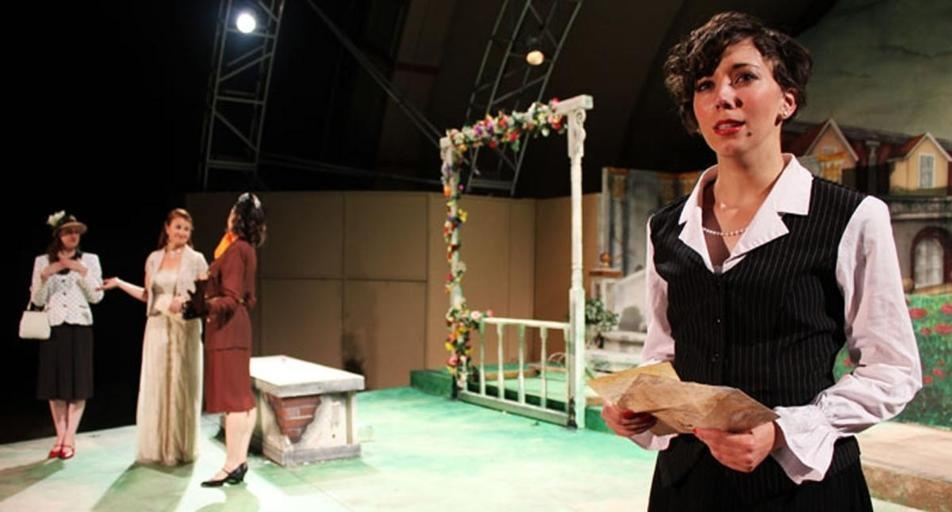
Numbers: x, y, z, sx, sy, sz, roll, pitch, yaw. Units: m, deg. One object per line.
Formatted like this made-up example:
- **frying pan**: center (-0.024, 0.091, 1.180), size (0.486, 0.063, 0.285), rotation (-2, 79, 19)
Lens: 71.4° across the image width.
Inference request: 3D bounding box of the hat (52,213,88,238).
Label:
- **hat**: center (-5.505, -0.405, 8.877), size (0.388, 0.181, 0.437), rotation (-2, -7, -10)

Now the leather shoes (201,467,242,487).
- **leather shoes**: center (-3.010, 2.670, 7.984), size (0.608, 0.263, 0.199), rotation (2, -5, -14)

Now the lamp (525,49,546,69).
- **lamp**: center (1.198, -4.056, 13.514), size (0.424, 0.316, 0.618), rotation (0, 11, 3)

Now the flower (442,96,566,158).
- **flower**: center (0.442, -1.984, 10.703), size (0.848, 0.823, 2.586), rotation (-13, 7, -38)

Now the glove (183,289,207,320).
- **glove**: center (-3.380, 0.600, 8.055), size (0.285, 0.311, 0.343), rotation (0, -9, -2)

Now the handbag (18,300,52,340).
- **handbag**: center (-5.742, 0.905, 8.562), size (0.324, 0.399, 0.236), rotation (-8, 13, -33)
